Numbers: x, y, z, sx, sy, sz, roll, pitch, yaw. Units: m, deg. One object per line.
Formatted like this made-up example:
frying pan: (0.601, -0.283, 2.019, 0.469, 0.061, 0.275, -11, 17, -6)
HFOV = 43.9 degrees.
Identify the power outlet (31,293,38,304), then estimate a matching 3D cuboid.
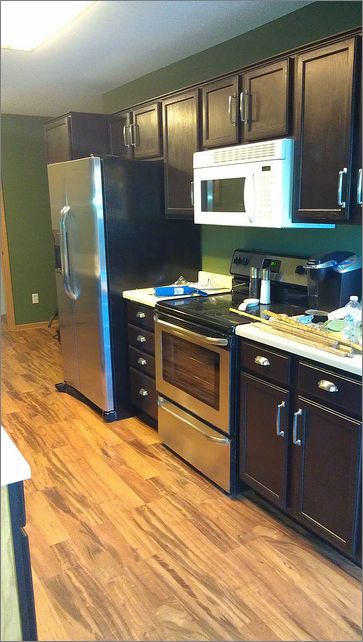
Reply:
power outlet: (-1.769, -0.286, 5.458, 0.095, 0.184, 0.016, -9, 18, -40)
